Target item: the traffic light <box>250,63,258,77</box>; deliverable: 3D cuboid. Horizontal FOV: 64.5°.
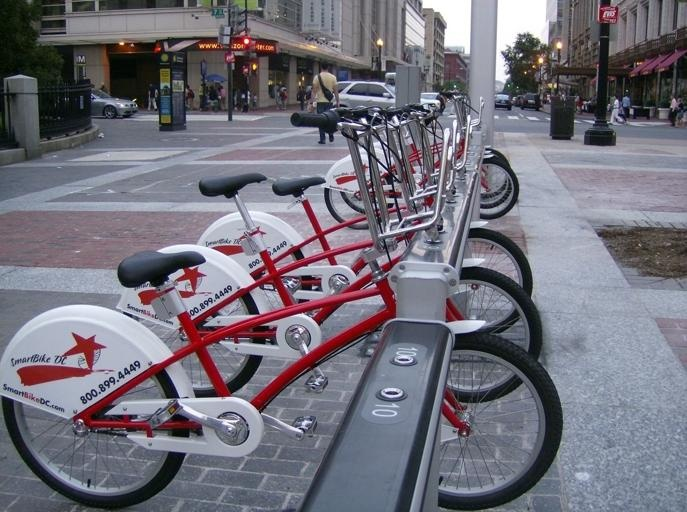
[{"bbox_3d":[-7.512,-15.312,44.518,0.407,0.855,0.910,-1,18,6],"label":"traffic light"}]
